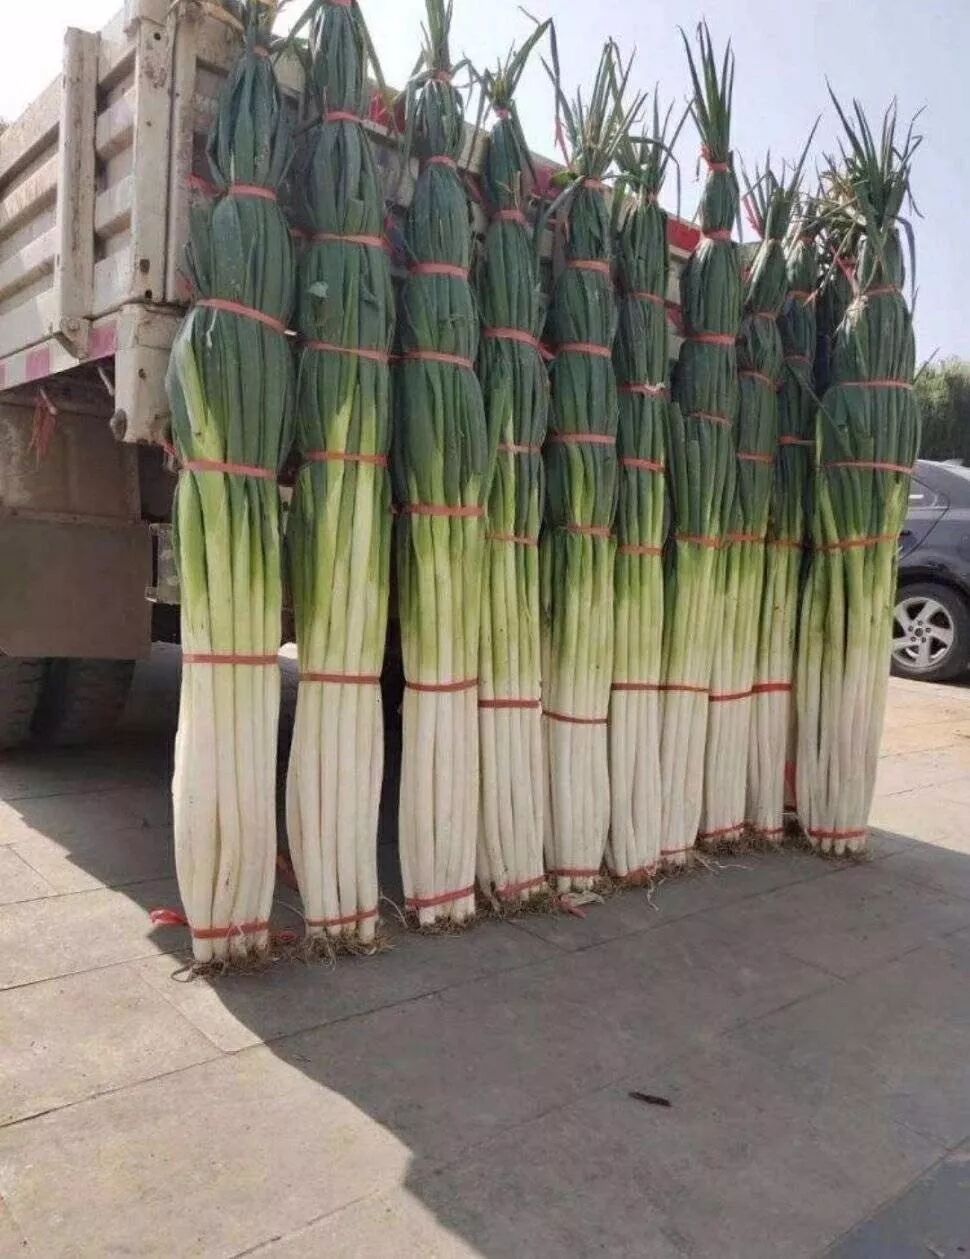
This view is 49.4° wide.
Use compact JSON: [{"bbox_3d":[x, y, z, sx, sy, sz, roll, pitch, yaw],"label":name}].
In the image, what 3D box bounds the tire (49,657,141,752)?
[{"bbox_3d":[-1.832,0.311,4.903,0.303,0.524,0.097,-1,16,-25],"label":"tire"}]
